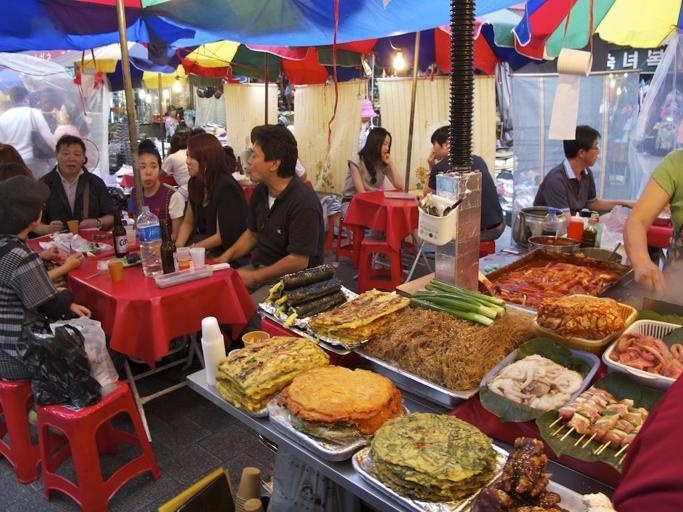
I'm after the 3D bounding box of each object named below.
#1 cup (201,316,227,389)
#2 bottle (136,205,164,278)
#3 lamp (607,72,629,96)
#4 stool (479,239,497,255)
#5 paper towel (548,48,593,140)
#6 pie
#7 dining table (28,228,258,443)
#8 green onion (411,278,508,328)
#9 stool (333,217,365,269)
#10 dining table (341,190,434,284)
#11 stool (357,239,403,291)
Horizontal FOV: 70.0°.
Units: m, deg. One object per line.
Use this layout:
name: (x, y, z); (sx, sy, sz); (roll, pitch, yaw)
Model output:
cup: (-0.637, 0.446, 2.293); (0.133, 0.293, 0.143); (1, 15, 0)
bottle: (-1.540, -0.137, 3.866); (0.193, 0.562, 0.193); (1, 15, 0)
lamp: (3.843, -2.399, 6.796); (0.271, 0.265, 0.078); (-2, 37, 4)
stool: (1.632, -0.107, 5.456); (0.173, 0.241, 0.131); (-1, -5, 16)
paper towel: (1.319, -0.954, 2.857); (0.200, 0.609, 0.226); (4, 17, 23)
pie: (0.151, 0.739, 2.271); (1.202, 0.778, 1.097); (-9, 15, -38)
dining table: (-1.596, 0.471, 3.988); (1.301, 1.152, 1.406); (13, 20, 43)
green onion: (0.544, 0.214, 2.324); (0.339, 0.076, 0.201); (17, 35, 38)
stool: (0.059, -0.248, 7.248); (0.520, 0.578, 0.511); (-7, -10, 26)
dining table: (0.491, -0.258, 6.383); (1.170, 1.457, 1.201); (-1, 20, 1)
stool: (0.492, 0.117, 6.126); (0.577, 0.720, 0.708); (1, 2, 9)
